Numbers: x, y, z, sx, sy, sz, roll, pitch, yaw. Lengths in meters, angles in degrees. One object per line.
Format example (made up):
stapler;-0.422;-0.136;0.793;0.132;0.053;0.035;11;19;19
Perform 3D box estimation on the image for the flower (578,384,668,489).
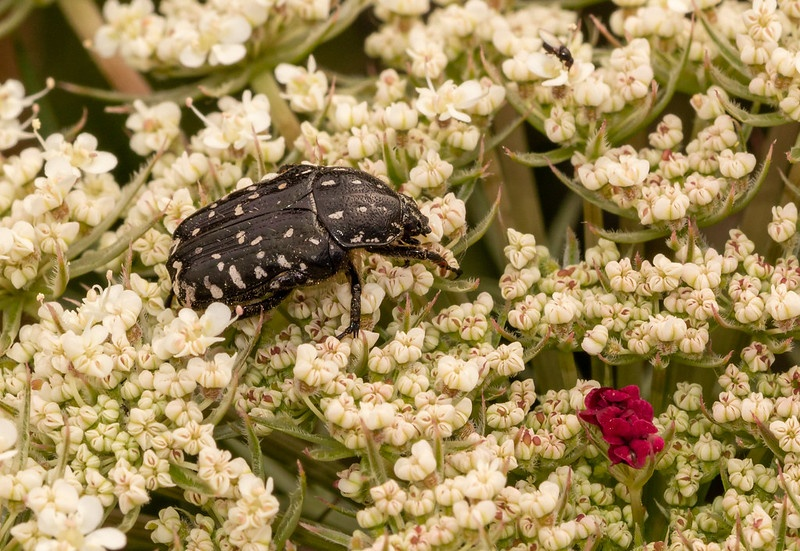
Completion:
flower;0.725;0.517;3.254;0.305;0.156;0.300;40;53;22
